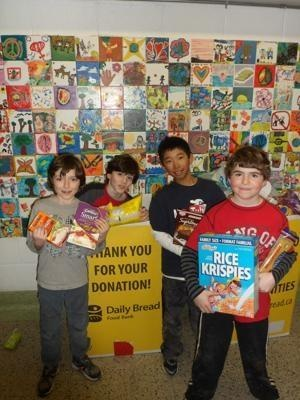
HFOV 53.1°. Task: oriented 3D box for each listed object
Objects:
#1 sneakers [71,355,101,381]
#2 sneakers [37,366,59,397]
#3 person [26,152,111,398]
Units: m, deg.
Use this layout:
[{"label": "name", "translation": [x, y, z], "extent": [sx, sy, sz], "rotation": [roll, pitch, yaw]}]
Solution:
[{"label": "sneakers", "translation": [-0.294, 0.802, 1.486], "extent": [0.161, 0.073, 0.071], "rotation": [18, 6, 23]}, {"label": "sneakers", "translation": [-0.466, 0.829, 1.356], "extent": [0.041, 0.051, 0.119], "rotation": [17, -9, -10]}, {"label": "person", "translation": [-0.388, 0.329, 1.422], "extent": [0.351, 1.075, 0.316], "rotation": [-5, 12, -22]}]
